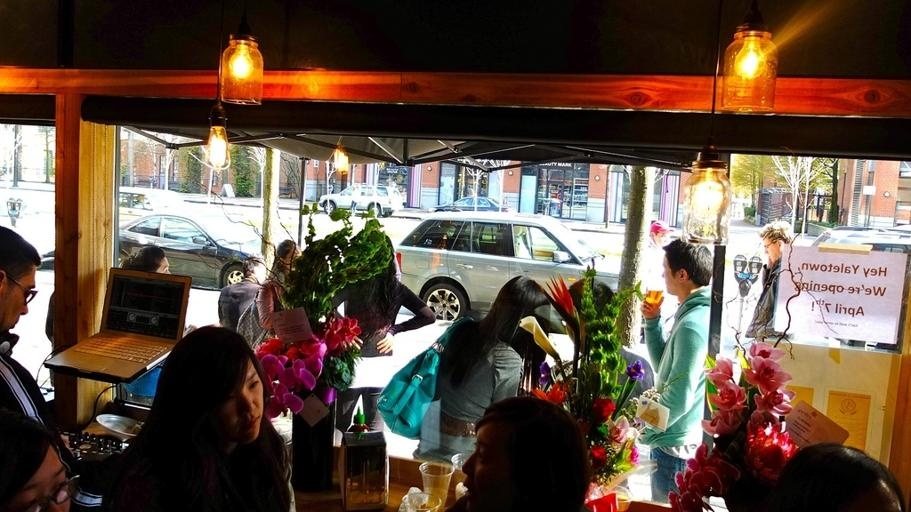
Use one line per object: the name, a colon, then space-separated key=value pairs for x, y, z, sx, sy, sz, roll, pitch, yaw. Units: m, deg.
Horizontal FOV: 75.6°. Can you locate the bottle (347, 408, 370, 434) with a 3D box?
bottle: x=-0.487 y=0.832 z=3.024 sx=0.096 sy=0.108 sz=0.187 roll=3 pitch=3 yaw=-7

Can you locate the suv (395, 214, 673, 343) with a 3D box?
suv: x=0.577 y=0.115 z=6.378 sx=2.578 sy=0.929 sz=1.159 roll=-1 pitch=5 yaw=13

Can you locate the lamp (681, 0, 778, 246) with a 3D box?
lamp: x=1.313 y=-0.674 z=2.788 sx=0.302 sy=0.909 sz=0.670 roll=5 pitch=3 yaw=27

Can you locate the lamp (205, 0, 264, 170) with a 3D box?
lamp: x=-1.170 y=-0.912 z=3.172 sx=0.263 sy=0.885 sz=0.693 roll=3 pitch=3 yaw=-20

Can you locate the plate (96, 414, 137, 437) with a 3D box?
plate: x=-1.950 y=0.988 z=3.418 sx=0.157 sy=0.026 sz=0.160 roll=20 pitch=2 yaw=31
